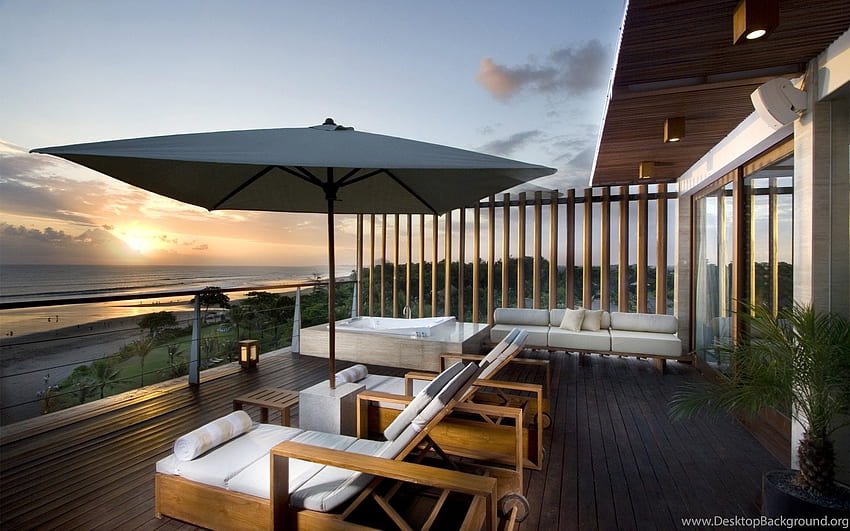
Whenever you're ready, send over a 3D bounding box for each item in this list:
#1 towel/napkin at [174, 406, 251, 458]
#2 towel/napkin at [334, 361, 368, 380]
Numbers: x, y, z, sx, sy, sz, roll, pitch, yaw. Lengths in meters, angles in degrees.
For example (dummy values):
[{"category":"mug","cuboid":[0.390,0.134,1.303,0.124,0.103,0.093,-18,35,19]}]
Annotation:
[{"category":"towel/napkin","cuboid":[-2.265,1.816,5.185,0.700,0.482,0.642,0,35,2]},{"category":"towel/napkin","cuboid":[-1.018,1.332,6.322,0.217,0.152,0.408,1,3,30]}]
